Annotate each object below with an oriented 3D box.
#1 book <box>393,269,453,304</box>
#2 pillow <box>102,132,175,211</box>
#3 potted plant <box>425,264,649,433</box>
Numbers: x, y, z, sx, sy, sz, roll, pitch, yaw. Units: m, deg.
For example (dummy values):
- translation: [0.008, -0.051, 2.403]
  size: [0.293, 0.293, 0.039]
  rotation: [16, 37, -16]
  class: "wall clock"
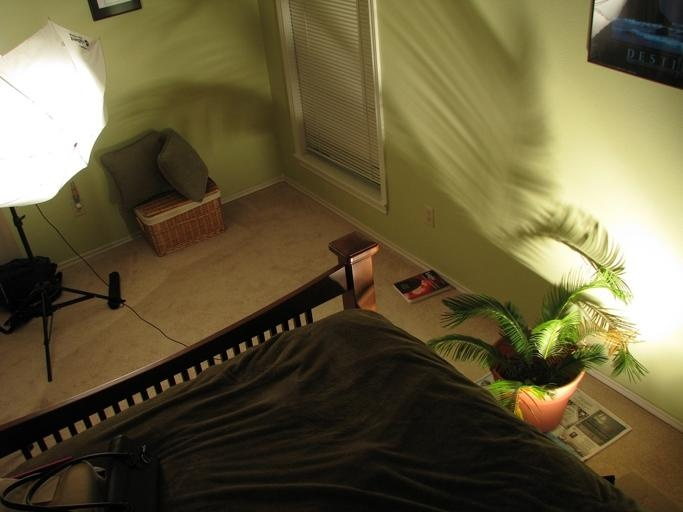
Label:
- translation: [0.546, 0.206, 3.451]
  size: [0.285, 0.038, 0.208]
  rotation: [-20, 36, -16]
  class: "book"
- translation: [-1.591, -0.644, 3.961]
  size: [0.600, 0.551, 0.176]
  rotation: [-31, 20, -27]
  class: "pillow"
- translation: [0.926, 0.442, 2.701]
  size: [0.920, 0.620, 0.915]
  rotation: [-19, 35, -12]
  class: "potted plant"
